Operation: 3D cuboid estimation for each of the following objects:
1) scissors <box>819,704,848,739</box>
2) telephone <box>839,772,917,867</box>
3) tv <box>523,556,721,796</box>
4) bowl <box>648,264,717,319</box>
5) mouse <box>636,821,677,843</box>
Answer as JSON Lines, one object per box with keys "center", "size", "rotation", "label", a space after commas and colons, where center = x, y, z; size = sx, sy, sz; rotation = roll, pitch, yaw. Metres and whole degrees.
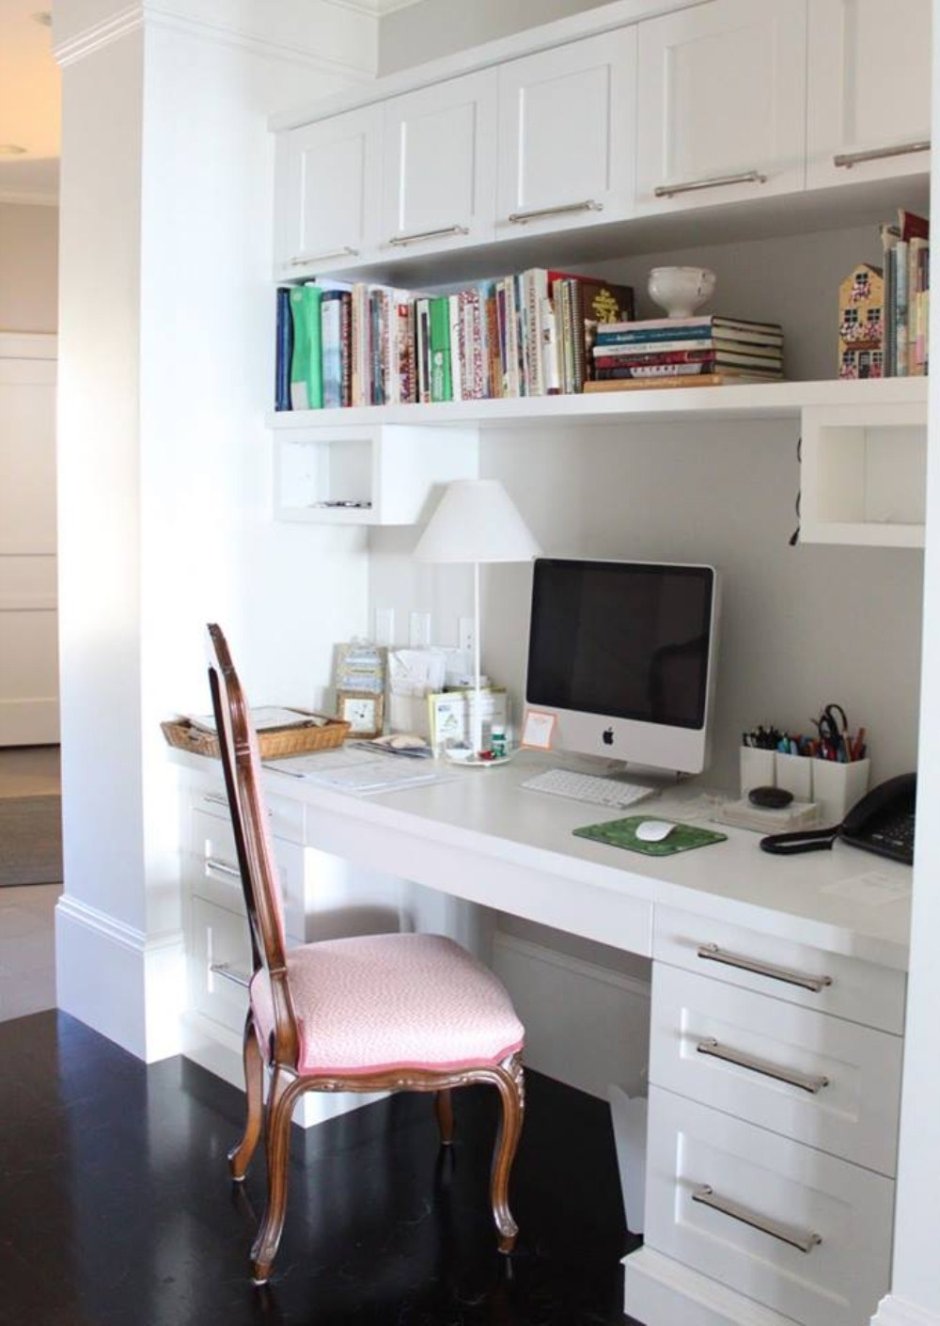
{"center": [0.634, 0.101, 1.838], "size": [0.022, 0.066, 0.047], "rotation": [-3, -4, 3], "label": "scissors"}
{"center": [0.624, 0.235, 1.594], "size": [0.093, 0.043, 0.127], "rotation": [-9, 16, -25], "label": "telephone"}
{"center": [0.319, 0.016, 2.132], "size": [0.414, 0.441, 0.153], "rotation": [7, 7, 35], "label": "tv"}
{"center": [0.361, -0.659, 1.786], "size": [0.108, 0.097, 0.124], "rotation": [8, 27, 14], "label": "bowl"}
{"center": [0.291, 0.264, 1.645], "size": [0.058, 0.023, 0.083], "rotation": [1, 2, 11], "label": "mouse"}
